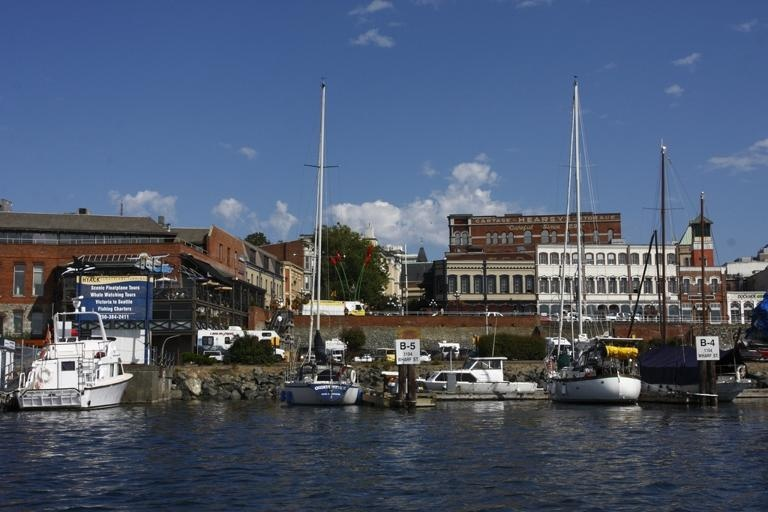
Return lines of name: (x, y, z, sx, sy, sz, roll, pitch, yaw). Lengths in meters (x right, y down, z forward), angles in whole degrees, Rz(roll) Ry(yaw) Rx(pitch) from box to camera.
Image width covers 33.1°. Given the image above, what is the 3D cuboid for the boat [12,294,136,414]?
boat: (-23.326, 8.479, 99.674, 5.699, 5.628, 9.268, 1, -1, 2)
